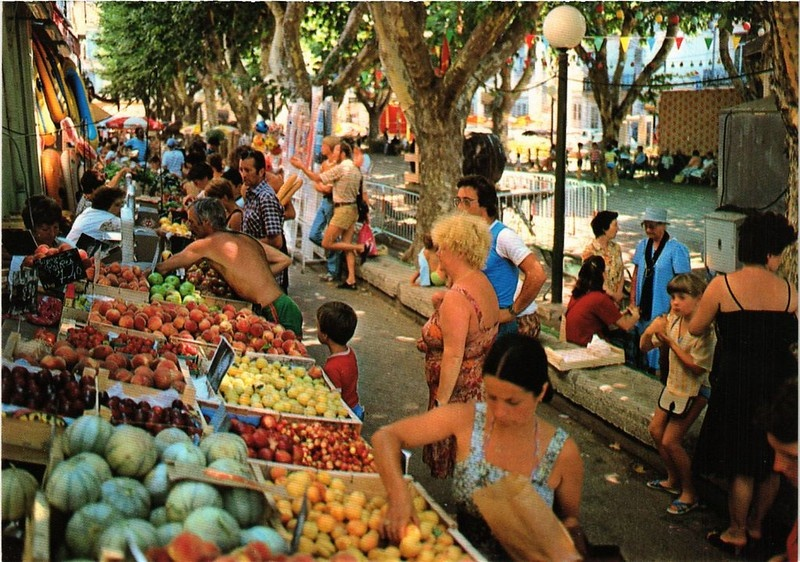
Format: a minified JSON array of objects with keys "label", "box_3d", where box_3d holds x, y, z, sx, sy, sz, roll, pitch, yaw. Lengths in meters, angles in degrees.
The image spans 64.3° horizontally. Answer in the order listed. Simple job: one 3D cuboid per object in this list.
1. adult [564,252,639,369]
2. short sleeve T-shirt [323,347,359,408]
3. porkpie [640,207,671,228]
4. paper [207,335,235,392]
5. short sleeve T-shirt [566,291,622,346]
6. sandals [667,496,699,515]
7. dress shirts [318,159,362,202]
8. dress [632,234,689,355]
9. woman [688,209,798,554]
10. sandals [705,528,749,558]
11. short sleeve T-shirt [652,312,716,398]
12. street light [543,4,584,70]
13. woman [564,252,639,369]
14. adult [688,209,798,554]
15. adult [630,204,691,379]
[{"label":"adult","box_3d":[2.143,0.205,6.774,0.699,0.999,0.650,1,9,11]},{"label":"short sleeve T-shirt","box_3d":[-0.478,0.798,5.156,0.248,0.456,0.377,2,9,21]},{"label":"porkpie","box_3d":[2.769,-0.656,6.673,0.392,0.168,0.343,6,2,-6]},{"label":"paper","box_3d":[-1.259,0.601,4.509,0.016,0.328,0.249,30,-13,-39]},{"label":"short sleeve T-shirt","box_3d":[2.013,0.428,6.821,0.424,0.609,0.755,3,-13,-15]},{"label":"sandals","box_3d":[2.208,1.727,4.942,0.241,0.061,0.102,-6,1,-19]},{"label":"dress shirts","box_3d":[-0.919,-1.508,10.116,0.575,0.775,0.793,-3,-6,14]},{"label":"dress","box_3d":[2.790,0.218,6.931,0.445,1.365,0.623,-13,17,-41]},{"label":"woman","box_3d":[2.318,0.714,4.336,0.626,2.336,0.503,3,10,27]},{"label":"sandals","box_3d":[2.307,1.846,4.481,0.191,0.082,0.113,34,7,33]},{"label":"short sleeve T-shirt","box_3d":[2.207,0.524,4.896,0.255,0.526,0.438,-4,15,-27]},{"label":"street light","box_3d":[1.994,-3.020,7.717,0.489,0.597,0.511,-3,23,10]},{"label":"woman","box_3d":[2.137,0.206,6.766,0.695,0.999,0.647,0,9,9]},{"label":"adult","box_3d":[2.323,0.714,4.339,0.628,2.336,0.513,3,9,25]},{"label":"adult","box_3d":[2.809,0.175,6.895,0.492,1.852,0.713,-8,8,-39]}]
